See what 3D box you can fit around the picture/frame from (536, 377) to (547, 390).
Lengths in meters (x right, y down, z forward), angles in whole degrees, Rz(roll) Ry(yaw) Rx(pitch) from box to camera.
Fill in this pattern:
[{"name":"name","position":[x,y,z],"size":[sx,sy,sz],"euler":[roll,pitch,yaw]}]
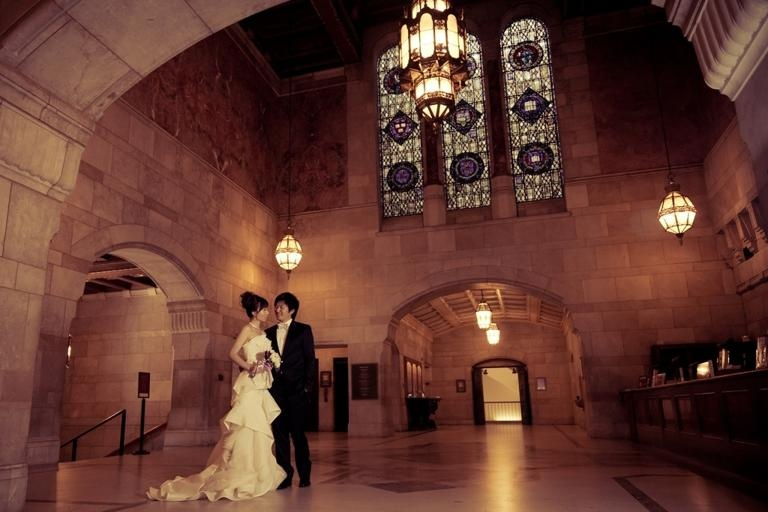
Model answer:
[{"name":"picture/frame","position":[6.757,5.484,22.482],"size":[0.360,0.521,0.151],"euler":[0,-11,11]}]

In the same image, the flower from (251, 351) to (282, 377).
[{"name":"flower","position":[-1.506,1.371,6.671],"size":[0.296,0.170,0.295],"euler":[-5,-1,19]}]

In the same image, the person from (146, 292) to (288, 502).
[{"name":"person","position":[-1.855,1.704,6.589],"size":[1.255,2.477,0.581],"euler":[1,-16,-4]}]

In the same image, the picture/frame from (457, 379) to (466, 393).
[{"name":"picture/frame","position":[3.424,5.783,23.306],"size":[0.495,0.699,0.484],"euler":[-2,-15,8]}]

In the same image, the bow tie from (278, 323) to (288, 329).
[{"name":"bow tie","position":[-1.317,0.914,6.851],"size":[0.082,0.081,0.030],"euler":[-1,3,5]}]

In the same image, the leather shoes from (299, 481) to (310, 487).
[{"name":"leather shoes","position":[-1.005,2.904,6.669],"size":[0.143,0.069,0.203],"euler":[2,-17,-8]}]

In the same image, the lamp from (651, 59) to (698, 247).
[{"name":"lamp","position":[6.887,-2.828,12.913],"size":[0.734,5.240,1.771],"euler":[-10,-19,29]}]

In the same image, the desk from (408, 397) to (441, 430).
[{"name":"desk","position":[1.356,5.629,18.833],"size":[1.418,1.267,1.719],"euler":[-8,-20,14]}]
